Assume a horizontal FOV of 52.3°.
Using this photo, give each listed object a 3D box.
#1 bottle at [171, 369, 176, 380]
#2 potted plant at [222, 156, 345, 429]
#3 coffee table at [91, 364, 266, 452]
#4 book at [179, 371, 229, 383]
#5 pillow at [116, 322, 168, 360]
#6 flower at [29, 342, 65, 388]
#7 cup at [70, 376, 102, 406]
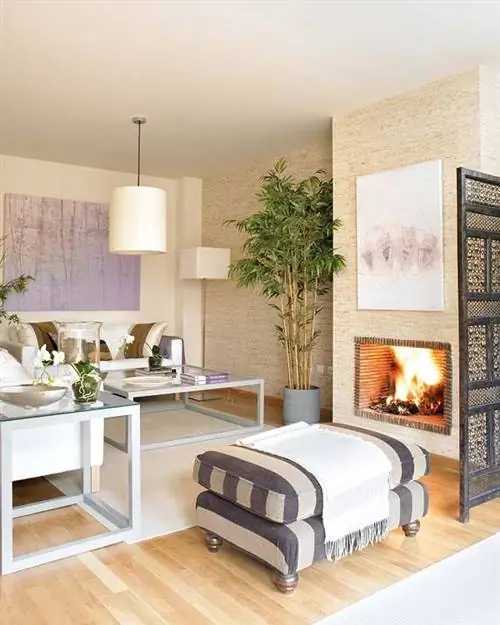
[{"bbox_3d":[-0.664,0.546,4.447,0.054,0.068,0.078,0,0,8],"label":"bottle"},{"bbox_3d":[0.345,-0.289,4.787,0.883,2.599,1.509,2,-1,-20],"label":"potted plant"},{"bbox_3d":[-0.656,0.735,4.405,0.886,0.320,0.870,-2,3,-40],"label":"coffee table"},{"bbox_3d":[-0.374,0.563,4.327,0.412,0.067,0.296,1,-1,-19],"label":"book"},{"bbox_3d":[-1.236,0.295,5.716,0.474,0.418,0.137,-6,-35,31],"label":"pillow"},{"bbox_3d":[-0.892,0.243,2.226,0.154,0.147,0.145,-3,-8,-13],"label":"flower"},{"bbox_3d":[-0.706,0.338,2.178,0.127,0.086,0.124,0,-3,0],"label":"cup"}]
